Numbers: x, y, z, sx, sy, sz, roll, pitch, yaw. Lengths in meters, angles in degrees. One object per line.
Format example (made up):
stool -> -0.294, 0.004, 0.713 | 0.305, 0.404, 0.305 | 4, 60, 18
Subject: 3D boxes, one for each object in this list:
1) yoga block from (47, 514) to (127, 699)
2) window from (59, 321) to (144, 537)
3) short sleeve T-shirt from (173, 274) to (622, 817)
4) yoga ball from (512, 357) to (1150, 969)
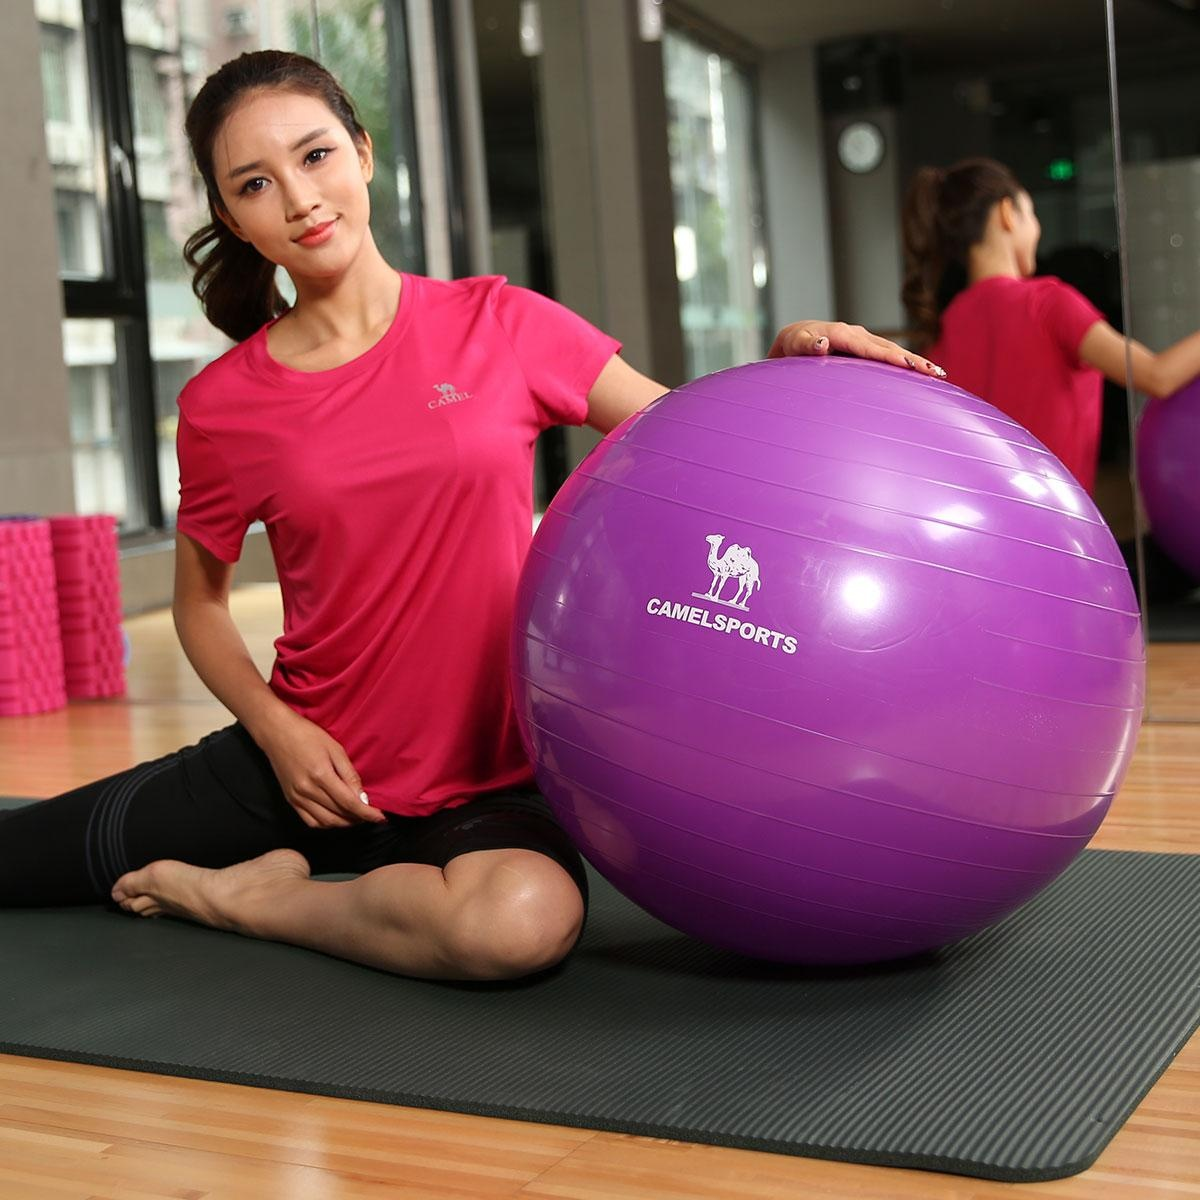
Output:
yoga block -> -1.449, 0.015, 3.331 | 0.218, 0.543, 0.177 | 22, 25, 33
window -> -2.175, -0.758, 4.996 | 0.103, 0.926, 0.501 | 7, 14, 19
short sleeve T-shirt -> -0.247, -0.079, 1.517 | 0.469, 0.710, 0.438 | -8, 22, -25
yoga ball -> 0.205, 0.040, 1.223 | 0.647, 0.534, 0.566 | 0, -3, 4
